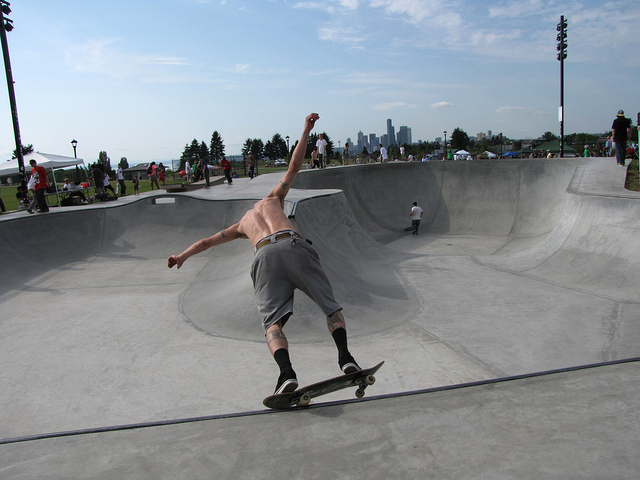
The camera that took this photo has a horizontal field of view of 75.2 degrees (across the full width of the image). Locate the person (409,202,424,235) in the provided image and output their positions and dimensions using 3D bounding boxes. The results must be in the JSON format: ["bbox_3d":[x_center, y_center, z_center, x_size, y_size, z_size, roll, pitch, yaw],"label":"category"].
[{"bbox_3d":[3.586,-0.815,15.606,0.376,1.164,0.598,-1,13,12],"label":"person"}]

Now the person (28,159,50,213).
[{"bbox_3d":[-7.601,-1.467,11.204,0.426,1.379,0.555,9,22,15],"label":"person"}]

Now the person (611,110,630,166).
[{"bbox_3d":[8.294,-2.780,11.558,0.361,1.495,1.890,6,16,35],"label":"person"}]

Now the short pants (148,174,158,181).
[{"bbox_3d":[-8.485,-3.194,21.054,0.352,0.367,0.353,0,4,26],"label":"short pants"}]

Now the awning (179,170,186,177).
[{"bbox_3d":[-8.016,-3.925,24.308,0.248,0.417,2.091,-8,13,-20],"label":"awning"}]

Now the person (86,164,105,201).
[{"bbox_3d":[-8.553,-2.246,16.084,0.467,1.386,1.369,-10,15,-27],"label":"person"}]

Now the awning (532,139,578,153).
[{"bbox_3d":[23.485,-9.395,41.585,2.585,1.263,12.835,4,14,29],"label":"awning"}]
